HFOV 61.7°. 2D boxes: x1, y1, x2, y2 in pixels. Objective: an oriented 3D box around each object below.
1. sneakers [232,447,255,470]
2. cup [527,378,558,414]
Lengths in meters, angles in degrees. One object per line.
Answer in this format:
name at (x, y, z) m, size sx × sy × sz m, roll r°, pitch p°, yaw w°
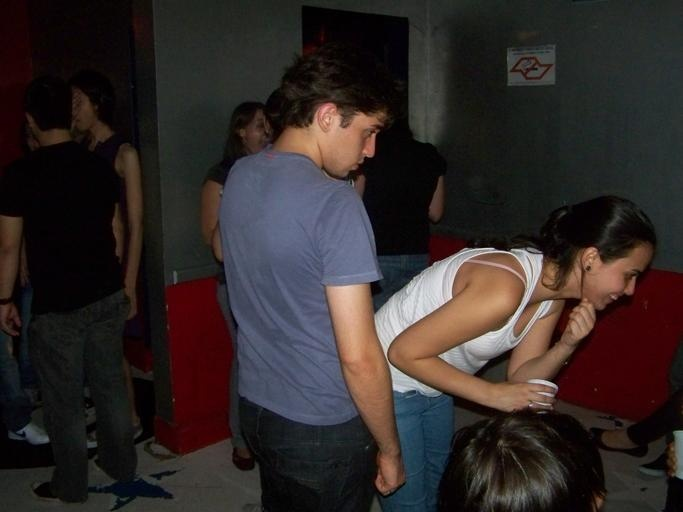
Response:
sneakers at (-0.624, 1.240, 3.517) m, size 0.142 × 0.141 × 0.100 m, roll 4°, pitch 2°, yaw 3°
cup at (0.733, 0.495, 2.097) m, size 0.116 × 0.128 × 0.121 m, roll 1°, pitch 2°, yaw 0°
